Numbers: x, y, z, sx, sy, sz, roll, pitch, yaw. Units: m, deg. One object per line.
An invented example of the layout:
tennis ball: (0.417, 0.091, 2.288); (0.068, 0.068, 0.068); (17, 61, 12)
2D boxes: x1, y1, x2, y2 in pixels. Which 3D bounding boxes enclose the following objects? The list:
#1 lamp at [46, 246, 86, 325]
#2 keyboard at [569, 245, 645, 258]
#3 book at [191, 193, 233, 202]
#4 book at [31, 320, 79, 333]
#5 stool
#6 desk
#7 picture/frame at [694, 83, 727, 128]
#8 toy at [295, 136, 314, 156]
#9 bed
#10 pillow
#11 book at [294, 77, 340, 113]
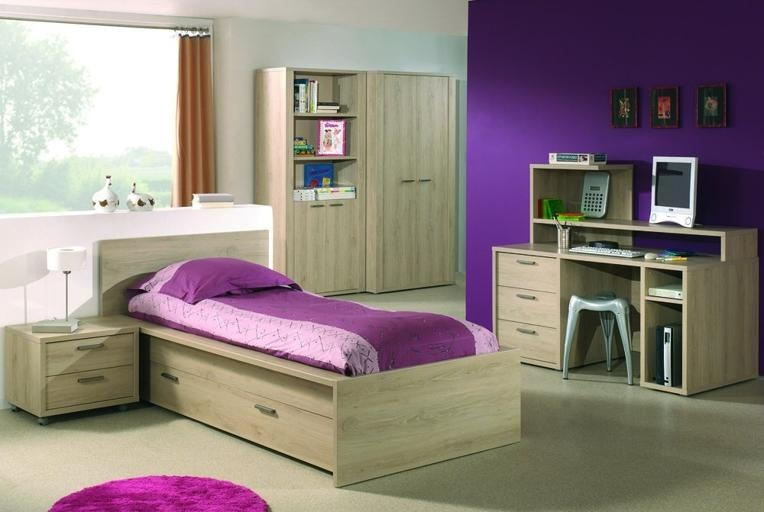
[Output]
lamp: (-2.085, 0.197, 3.953); (0.222, 0.443, 0.203); (-2, -1, -9)
keyboard: (1.741, -0.035, 4.622); (0.554, 0.058, 0.288); (3, 8, 25)
book: (-1.362, -0.469, 4.849); (0.213, 0.048, 0.211); (-2, 6, -21)
book: (-2.122, 0.448, 3.923); (0.278, 0.055, 0.238); (-1, 7, -7)
stool: (1.742, 0.623, 4.705); (0.682, 0.708, 0.652); (1, 1, 31)
desk: (1.935, 0.227, 4.570); (0.954, 1.531, 1.772); (-3, 5, -37)
picture/frame: (2.519, -1.131, 4.539); (0.208, 0.317, 0.022); (5, 8, 38)
toy: (-0.884, -1.267, 6.893); (0.239, 0.242, 0.445); (-1, 7, -6)
bed: (-0.685, 0.343, 3.858); (1.419, 0.954, 2.417); (-4, 8, -38)
pillow: (-1.326, 0.146, 4.363); (0.902, 0.201, 0.820); (-11, 9, -31)
book: (-0.745, -1.795, 6.793); (0.532, 0.383, 0.146); (-6, 9, -38)
